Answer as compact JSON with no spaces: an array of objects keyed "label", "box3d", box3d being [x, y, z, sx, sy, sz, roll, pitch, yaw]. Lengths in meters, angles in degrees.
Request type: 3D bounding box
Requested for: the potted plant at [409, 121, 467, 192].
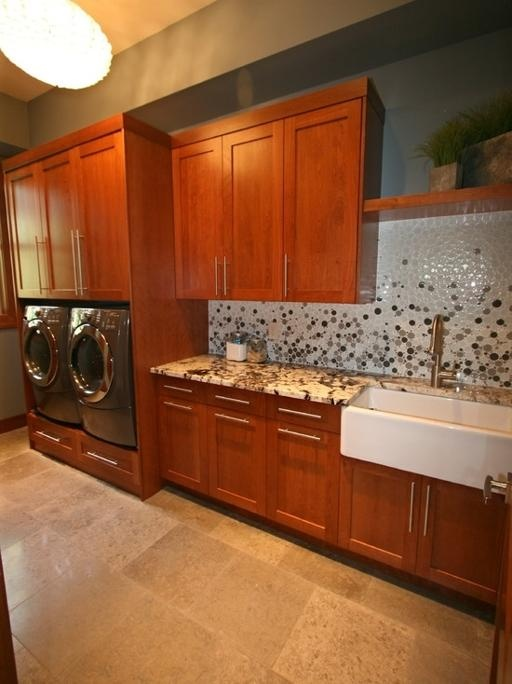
[{"label":"potted plant","box3d":[0.775,-0.757,1.955,0.151,0.273,0.151,5,13,25]}]
